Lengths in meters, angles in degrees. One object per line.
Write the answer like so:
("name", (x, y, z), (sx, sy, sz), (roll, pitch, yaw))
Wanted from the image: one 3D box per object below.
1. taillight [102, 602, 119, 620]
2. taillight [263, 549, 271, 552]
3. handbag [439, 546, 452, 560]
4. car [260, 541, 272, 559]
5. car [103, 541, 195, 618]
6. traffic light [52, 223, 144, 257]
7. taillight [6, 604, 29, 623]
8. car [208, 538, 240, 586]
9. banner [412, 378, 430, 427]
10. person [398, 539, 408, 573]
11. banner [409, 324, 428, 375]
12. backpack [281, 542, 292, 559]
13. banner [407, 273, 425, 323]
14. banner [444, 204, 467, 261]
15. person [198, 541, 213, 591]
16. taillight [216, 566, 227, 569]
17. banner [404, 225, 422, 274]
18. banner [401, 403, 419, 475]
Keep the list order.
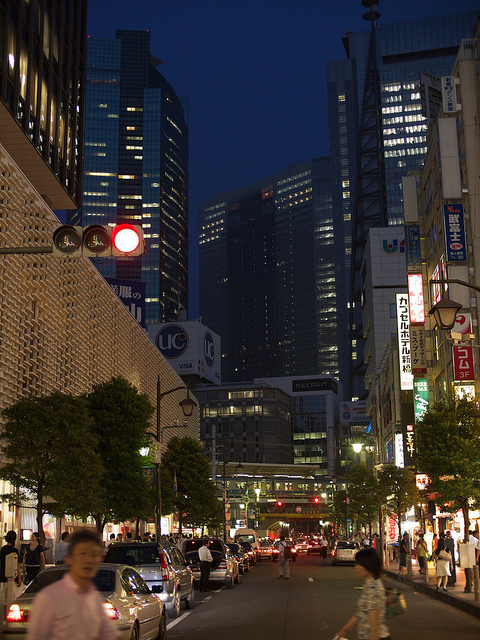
("taillight", (-1.549, 3.476, 10.344), (0.147, 0.198, 0.393), (-6, -16, 13))
("taillight", (1.984, 18.102, 67.931), (0.291, 0.092, 0.313), (5, -10, -26))
("handbag", (5.659, 6.552, 24.142), (0.247, 0.286, 0.290), (26, -21, 16))
("car", (2.019, 18.090, 68.192), (0.777, 0.808, 1.680), (0, -46, 1))
("car", (-1.736, 5.264, 17.902), (1.031, 1.208, 2.564), (-1, -8, 6))
("traffic light", (-1.826, -1.029, 11.159), (1.165, 0.583, 0.496), (-1, -14, -10))
("taillight", (-2.631, 3.475, 10.209), (0.145, 0.162, 0.291), (1, -7, -5))
("car", (-0.626, 8.236, 28.728), (0.749, 0.809, 2.207), (0, -31, 2))
("banner", (11.314, 5.139, 54.306), (1.120, 3.361, 0.261), (-7, -38, 17))
("person", (7.210, 10.578, 38.823), (0.373, 1.401, 2.087), (-4, -15, 10))
("banner", (11.640, 1.947, 57.353), (0.959, 3.623, 1.805), (-5, -13, 13))
("backpack", (1.848, 8.922, 33.346), (0.333, 0.696, 0.625), (1, -14, -3))
("banner", (11.712, -1.473, 58.389), (1.009, 3.373, 1.029), (-5, -13, 12))
("banner", (11.312, -4.552, 46.136), (1.084, 3.511, 0.323), (-1, -27, 8))
("person", (-1.092, 7.691, 27.124), (0.441, 1.507, 1.640), (-2, -14, -3))
("taillight", (-0.592, 7.960, 27.806), (0.305, 0.083, 0.067), (0, -14, -12))
("banner", (11.875, -4.185, 59.926), (1.057, 5.485, 0.516), (-1, -27, 8))
("banner", (10.999, 7.799, 57.114), (0.826, 4.985, 0.709), (6, -13, -44))
